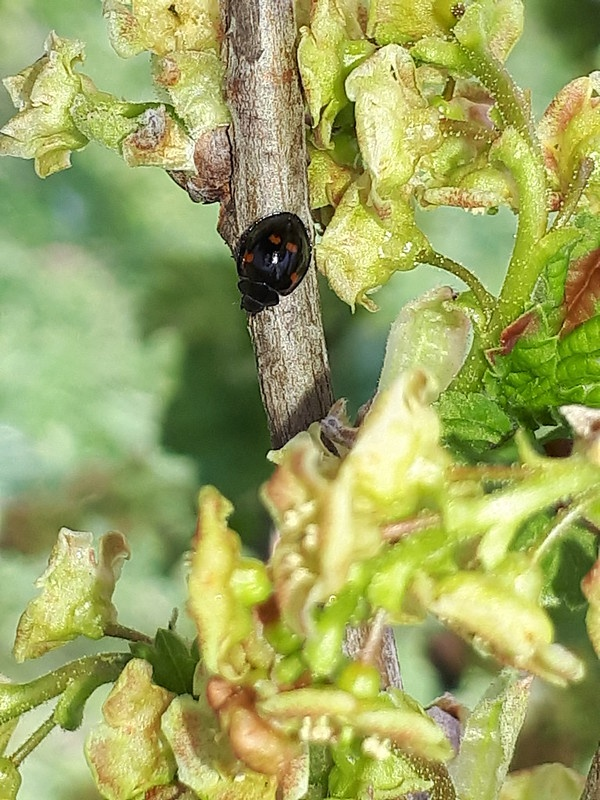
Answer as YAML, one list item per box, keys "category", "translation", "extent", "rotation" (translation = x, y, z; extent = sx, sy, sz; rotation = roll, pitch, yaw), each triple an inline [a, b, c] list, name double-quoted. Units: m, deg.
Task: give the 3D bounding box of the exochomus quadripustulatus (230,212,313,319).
- category: "exochomus quadripustulatus"
  translation: [-0.024, -0.119, 0.927]
  extent: [0.074, 0.084, 0.060]
  rotation: [-10, 49, 7]
